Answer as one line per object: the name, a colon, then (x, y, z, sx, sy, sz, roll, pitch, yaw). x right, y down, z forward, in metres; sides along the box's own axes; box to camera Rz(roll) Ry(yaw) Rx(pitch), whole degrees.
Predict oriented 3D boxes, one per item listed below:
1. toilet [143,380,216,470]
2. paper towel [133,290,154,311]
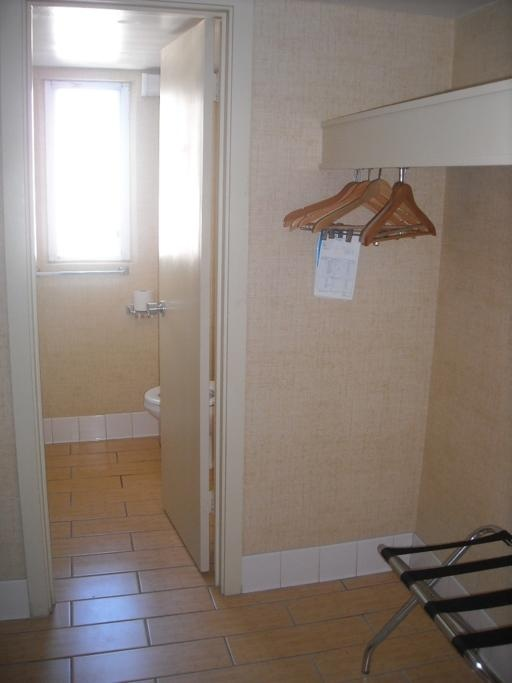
toilet: (-0.462, 0.348, 3.248, 0.350, 0.633, 0.254, -10, 31, -35)
paper towel: (-0.698, -0.256, 3.483, 0.114, 0.166, 0.129, 2, 2, 9)
